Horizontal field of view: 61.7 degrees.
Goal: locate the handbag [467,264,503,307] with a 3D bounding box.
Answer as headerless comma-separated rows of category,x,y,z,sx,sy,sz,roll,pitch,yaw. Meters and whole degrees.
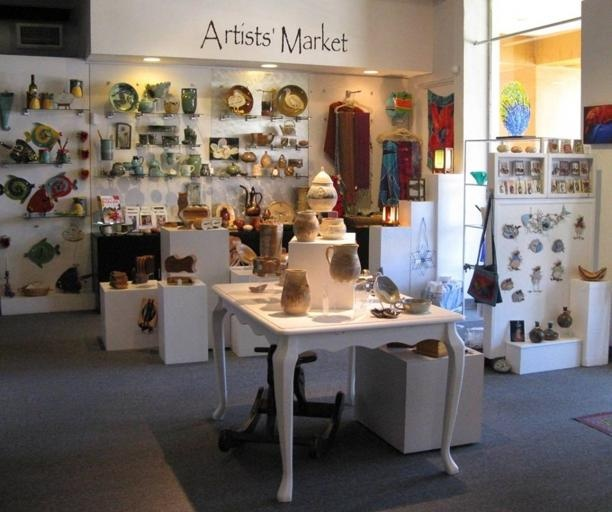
handbag,1.659,0.267,4.747,0.295,0.376,0.198,3,7,22

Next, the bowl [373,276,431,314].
bowl,0.537,0.241,2.951,0.300,0.135,0.187,25,8,26

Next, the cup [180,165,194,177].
cup,-1.672,-1.199,7.236,0.119,0.169,0.193,8,1,34

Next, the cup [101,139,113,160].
cup,-2.687,-1.424,6.892,0.146,0.280,0.172,-2,7,-25

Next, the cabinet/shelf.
cabinet/shelf,2.161,-0.023,4.940,1.076,1.912,0.277,-2,7,-24

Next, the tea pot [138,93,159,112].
tea pot,-2.139,-2.056,6.949,0.249,0.241,0.259,1,6,0

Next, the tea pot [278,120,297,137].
tea pot,-0.269,-1.907,7.625,0.224,0.208,0.200,-3,13,-7

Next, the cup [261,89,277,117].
cup,-0.543,-2.246,7.525,0.225,0.384,0.110,0,6,-8

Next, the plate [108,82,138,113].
plate,-2.452,-2.131,6.883,0.378,0.409,0.161,4,10,-14

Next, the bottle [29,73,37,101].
bottle,-3.516,-2.173,6.577,0.105,0.338,0.210,-2,7,-23

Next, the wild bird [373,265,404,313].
wild bird,0.469,0.186,2.950,0.147,0.226,0.049,20,-42,-39

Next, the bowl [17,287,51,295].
bowl,-3.603,0.464,6.741,0.352,0.124,0.134,0,6,-5

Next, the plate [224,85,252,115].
plate,-1.005,-2.250,7.376,0.401,0.433,0.055,-2,1,-26

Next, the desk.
desk,0.167,0.446,3.077,1.073,0.934,1.441,2,4,-20
